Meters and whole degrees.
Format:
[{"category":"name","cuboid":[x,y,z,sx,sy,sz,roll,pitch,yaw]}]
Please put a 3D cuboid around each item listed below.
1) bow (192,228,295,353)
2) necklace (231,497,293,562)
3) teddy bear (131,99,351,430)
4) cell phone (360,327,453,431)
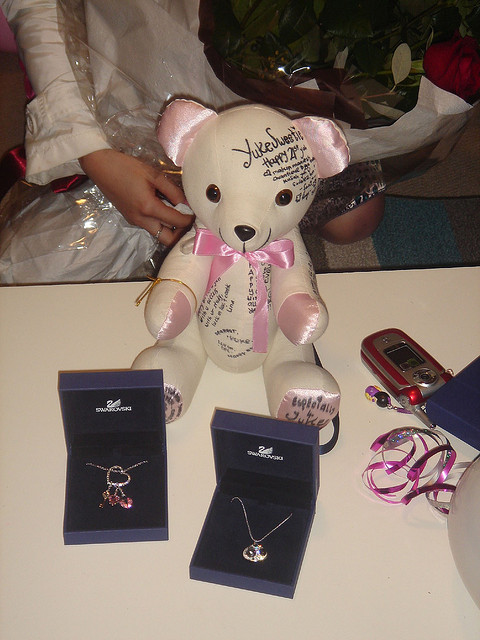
[{"category":"bow","cuboid":[0.005,-0.040,0.649,0.145,0.162,0.030,9,31,5]},{"category":"necklace","cuboid":[0.024,0.226,0.584,0.059,0.003,0.057,6,51,16]},{"category":"teddy bear","cuboid":[0.003,-0.053,0.648,0.269,0.342,0.233,5,43,8]},{"category":"cell phone","cuboid":[0.229,0.071,0.729,0.074,0.042,0.152,-24,48,-14]}]
